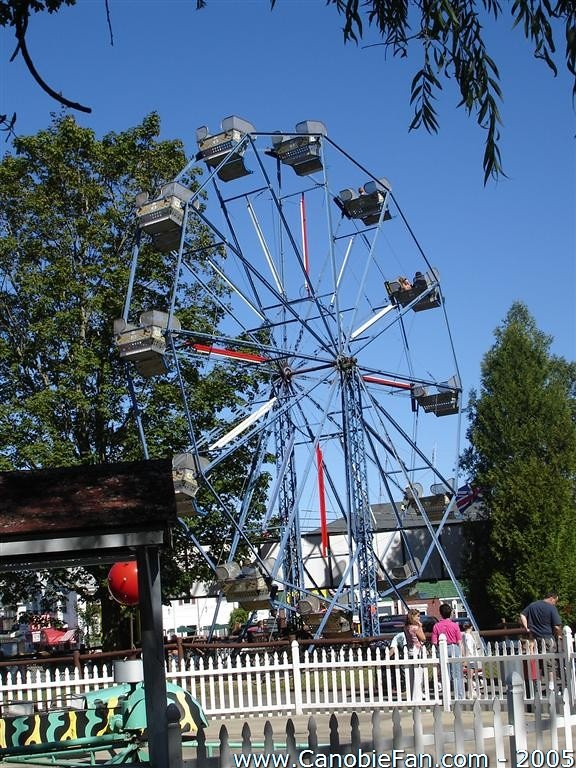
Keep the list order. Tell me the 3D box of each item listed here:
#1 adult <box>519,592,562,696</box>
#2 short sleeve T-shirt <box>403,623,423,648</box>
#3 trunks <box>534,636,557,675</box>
[{"bbox_3d":[3.423,3.362,14.217,0.444,1.201,0.483,-2,3,-40],"label":"adult"},{"bbox_3d":[1.768,3.602,15.285,0.346,0.371,0.217,-8,-10,36],"label":"short sleeve T-shirt"},{"bbox_3d":[3.208,3.358,13.206,0.275,0.483,2.088,-8,-14,12],"label":"trunks"}]
